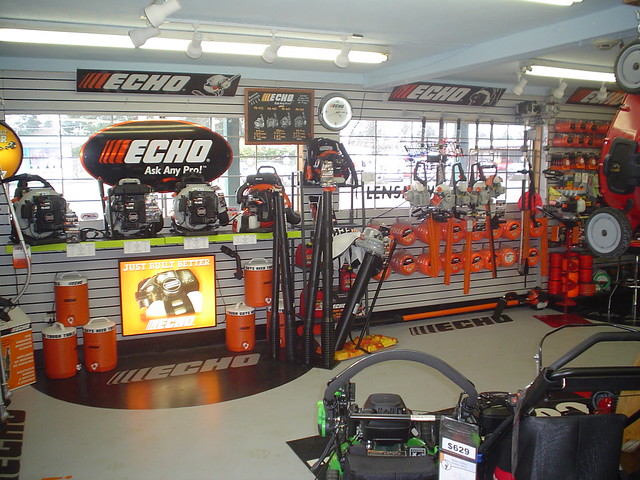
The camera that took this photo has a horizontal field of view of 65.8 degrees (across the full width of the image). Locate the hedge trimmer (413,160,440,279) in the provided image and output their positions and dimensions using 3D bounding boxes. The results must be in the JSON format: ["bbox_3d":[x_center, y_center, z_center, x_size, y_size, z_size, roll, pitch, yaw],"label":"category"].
[{"bbox_3d":[1.777,-0.225,7.943,0.307,2.045,0.384,-30,33,-34],"label":"hedge trimmer"}]

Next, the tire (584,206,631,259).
[{"bbox_3d":[2.946,-0.071,5.081,0.175,0.531,0.501,-2,15,-13],"label":"tire"}]

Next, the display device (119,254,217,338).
[{"bbox_3d":[-2.193,0.768,6.965,1.470,0.978,0.134,-2,2,-21],"label":"display device"}]

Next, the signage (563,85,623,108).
[{"bbox_3d":[5.262,-2.705,9.412,1.272,0.319,0.378,-5,15,-25],"label":"signage"}]

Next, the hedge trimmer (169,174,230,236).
[{"bbox_3d":[-1.618,-0.468,6.637,0.895,0.652,0.646,-1,10,-6],"label":"hedge trimmer"}]

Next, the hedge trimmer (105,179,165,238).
[{"bbox_3d":[-2.324,-0.423,6.382,0.797,0.642,0.555,1,4,6],"label":"hedge trimmer"}]

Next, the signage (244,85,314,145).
[{"bbox_3d":[-0.649,-1.851,7.297,1.171,0.756,0.070,-1,2,-19],"label":"signage"}]
